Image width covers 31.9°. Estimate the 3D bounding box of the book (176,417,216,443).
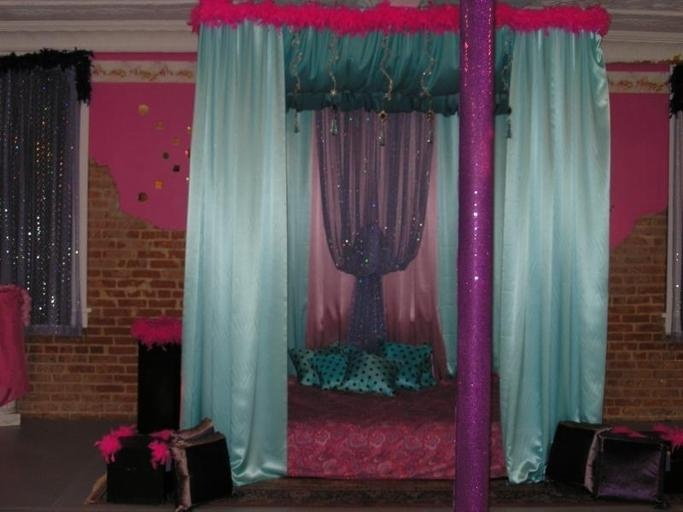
[{"bbox_3d":[-1.098,1.305,8.963,0.240,0.094,0.133,0,2,-39],"label":"book"}]
